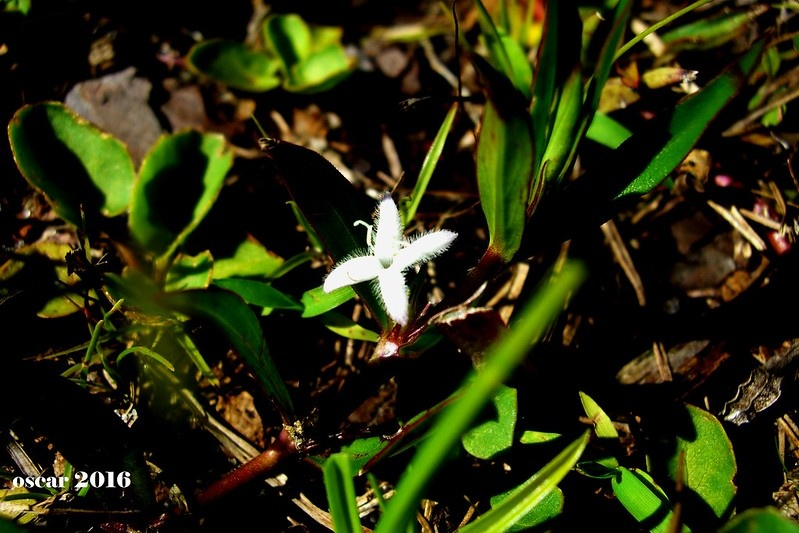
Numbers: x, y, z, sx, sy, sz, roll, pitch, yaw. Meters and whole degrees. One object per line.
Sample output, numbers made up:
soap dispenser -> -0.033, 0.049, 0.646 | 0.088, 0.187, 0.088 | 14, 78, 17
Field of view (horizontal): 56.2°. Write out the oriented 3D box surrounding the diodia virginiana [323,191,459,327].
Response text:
diodia virginiana -> -0.051, -0.029, 3.577 | 0.532, 0.191, 0.648 | -2, 69, 3
